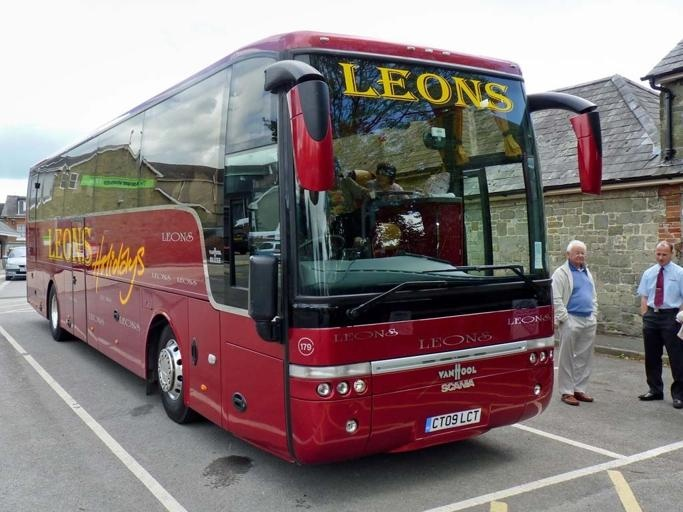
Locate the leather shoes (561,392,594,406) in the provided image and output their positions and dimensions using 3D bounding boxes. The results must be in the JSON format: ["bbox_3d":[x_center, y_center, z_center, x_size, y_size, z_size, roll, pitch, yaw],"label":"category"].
[{"bbox_3d":[3.406,2.060,7.275,0.241,0.089,0.236,2,-6,-41],"label":"leather shoes"}]

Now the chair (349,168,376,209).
[{"bbox_3d":[0.185,-0.649,4.379,0.187,0.255,0.133,1,-32,-20],"label":"chair"}]

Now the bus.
[{"bbox_3d":[-0.252,0.220,5.142,1.976,1.888,5.256,-1,2,-35],"label":"bus"}]

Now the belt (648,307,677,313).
[{"bbox_3d":[4.722,0.786,7.349,0.379,0.103,0.113,1,2,32],"label":"belt"}]

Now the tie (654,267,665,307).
[{"bbox_3d":[4.650,0.462,7.336,0.114,0.595,0.074,1,2,23],"label":"tie"}]

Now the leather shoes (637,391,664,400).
[{"bbox_3d":[4.598,2.111,7.520,0.426,0.168,0.141,3,-4,0],"label":"leather shoes"}]
